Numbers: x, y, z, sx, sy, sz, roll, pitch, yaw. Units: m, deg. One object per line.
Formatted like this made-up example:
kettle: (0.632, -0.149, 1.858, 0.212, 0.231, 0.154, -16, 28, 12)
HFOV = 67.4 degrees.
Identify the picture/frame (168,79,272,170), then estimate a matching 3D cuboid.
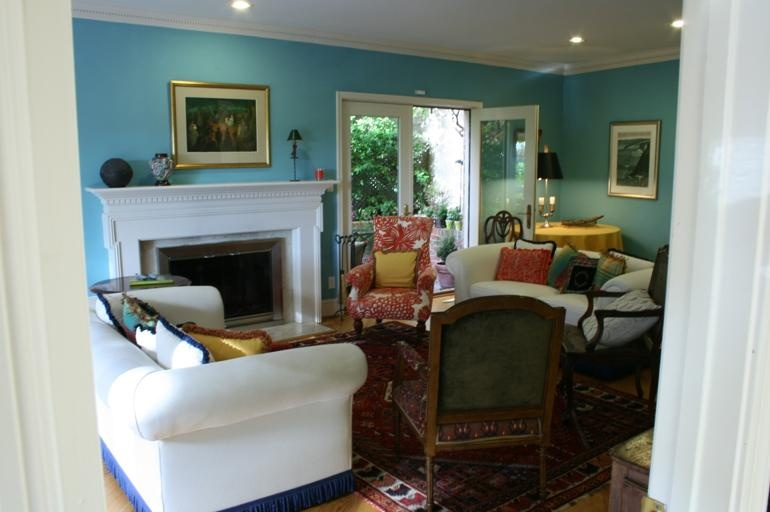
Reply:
picture/frame: (-1.452, -1.138, 4.922, 0.850, 0.657, 0.057, -6, 14, -29)

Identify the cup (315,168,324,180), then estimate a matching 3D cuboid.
cup: (-0.615, -0.766, 5.378, 0.096, 0.107, 0.094, 1, 4, 0)

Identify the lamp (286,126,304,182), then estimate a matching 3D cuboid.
lamp: (-0.822, -0.928, 5.261, 0.138, 0.456, 0.226, -2, 11, -8)

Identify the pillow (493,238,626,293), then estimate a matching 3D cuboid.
pillow: (1.495, 0.077, 4.894, 0.472, 0.359, 1.208, -9, 14, -41)

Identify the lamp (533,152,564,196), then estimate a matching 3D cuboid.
lamp: (1.886, -1.000, 6.791, 0.394, 0.519, 0.389, -2, 4, -3)

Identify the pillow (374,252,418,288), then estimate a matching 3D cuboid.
pillow: (0.098, 0.129, 5.067, 0.299, 0.256, 0.109, 1, -3, 2)

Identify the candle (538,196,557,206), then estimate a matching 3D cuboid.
candle: (1.918, -0.663, 6.840, 0.232, 0.148, 0.082, -1, -4, 37)

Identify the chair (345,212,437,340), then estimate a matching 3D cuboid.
chair: (0.071, 0.143, 5.003, 0.860, 1.058, 0.983, 1, 4, 8)
